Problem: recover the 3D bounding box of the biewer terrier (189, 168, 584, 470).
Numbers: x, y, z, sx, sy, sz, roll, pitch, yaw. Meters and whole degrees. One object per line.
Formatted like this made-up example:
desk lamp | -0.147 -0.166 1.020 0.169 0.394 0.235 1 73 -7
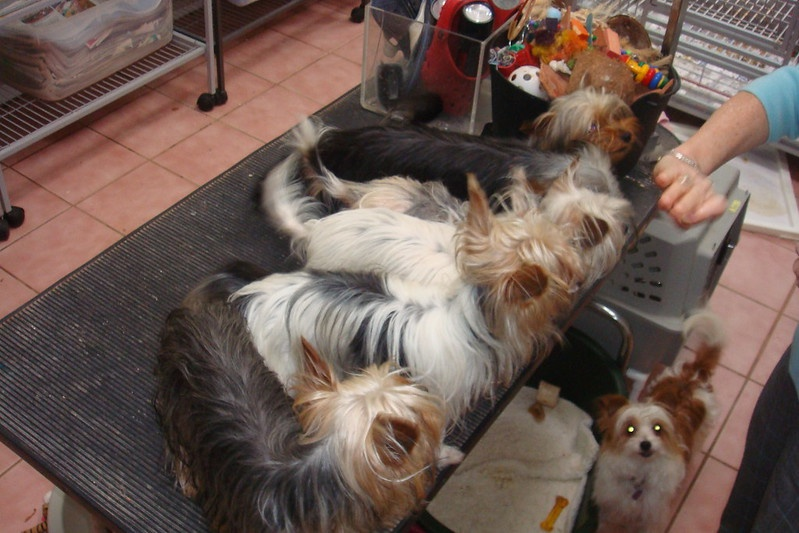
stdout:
biewer terrier | -0.010 0.114 1.037 0.645 0.492 0.250 1 26 -7
